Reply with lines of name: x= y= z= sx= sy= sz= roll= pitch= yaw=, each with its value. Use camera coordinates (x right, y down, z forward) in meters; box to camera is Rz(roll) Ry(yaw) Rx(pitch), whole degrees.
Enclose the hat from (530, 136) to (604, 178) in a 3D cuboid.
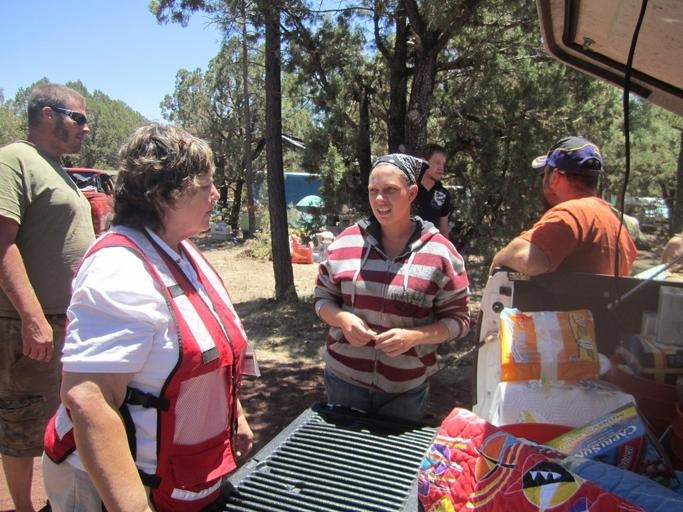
hat: x=1.508 y=-0.670 z=4.013 sx=0.289 sy=0.292 sz=0.457 roll=0 pitch=5 yaw=-28
